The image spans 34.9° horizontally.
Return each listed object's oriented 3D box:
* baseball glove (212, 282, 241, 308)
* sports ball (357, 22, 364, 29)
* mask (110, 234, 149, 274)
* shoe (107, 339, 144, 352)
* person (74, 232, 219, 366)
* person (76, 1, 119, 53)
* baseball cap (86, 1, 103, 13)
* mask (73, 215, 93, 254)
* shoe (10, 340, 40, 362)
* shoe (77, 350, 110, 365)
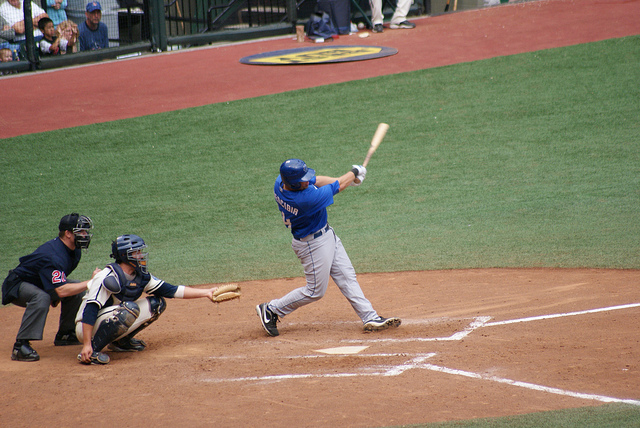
[{"bbox_3d":[-1.272,1.093,14.152,0.364,0.243,0.182,-11,-6,-10],"label":"baseball glove"},{"bbox_3d":[1.004,-4.473,23.938,0.252,0.148,0.091,-13,15,-42],"label":"sports ball"},{"bbox_3d":[-2.562,0.550,13.902,0.483,0.559,0.229,-6,12,-11],"label":"mask"},{"bbox_3d":[-2.674,1.833,14.225,0.512,0.206,0.162,-1,2,0],"label":"shoe"},{"bbox_3d":[-2.543,1.122,13.895,1.542,1.685,0.413,-6,12,-13],"label":"person"},{"bbox_3d":[-4.737,-4.104,22.078,0.951,1.054,0.750,-9,13,-27],"label":"person"},{"bbox_3d":[-4.745,-4.452,21.649,0.116,0.217,0.297,8,16,44],"label":"baseball cap"},{"bbox_3d":[-3.277,0.266,14.173,0.355,0.504,0.359,-3,2,3],"label":"mask"},{"bbox_3d":[-3.982,1.863,13.887,0.448,0.271,0.201,2,7,7],"label":"shoe"},{"bbox_3d":[-2.959,1.914,13.862,0.244,0.194,0.235,-5,11,-9],"label":"shoe"}]
